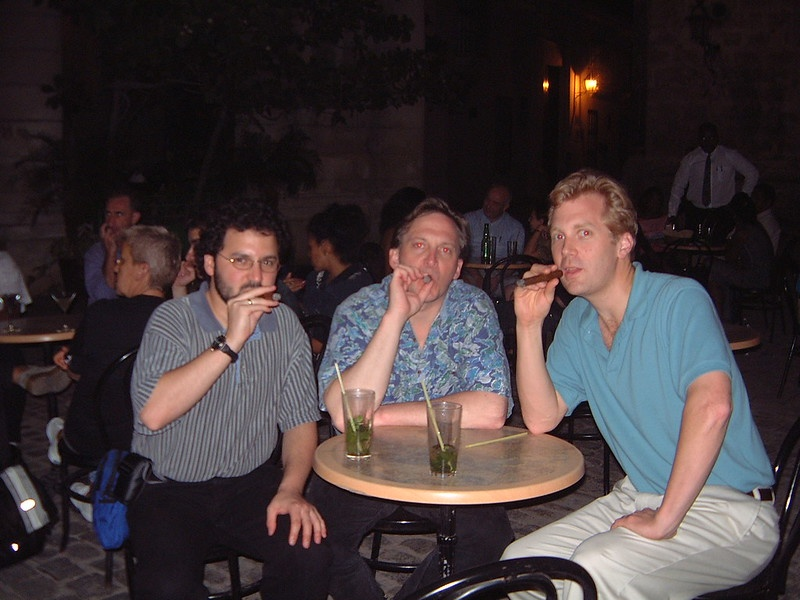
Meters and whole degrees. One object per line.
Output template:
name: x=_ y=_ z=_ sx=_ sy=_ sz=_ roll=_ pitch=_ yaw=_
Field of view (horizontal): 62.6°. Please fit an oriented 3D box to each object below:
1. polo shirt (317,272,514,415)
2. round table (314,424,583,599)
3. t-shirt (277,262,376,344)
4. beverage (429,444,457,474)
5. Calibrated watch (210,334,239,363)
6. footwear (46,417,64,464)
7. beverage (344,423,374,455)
polo shirt: x=0.018 y=0.244 z=3.175 sx=0.946 sy=0.611 sz=0.766 roll=-1 pitch=21 yaw=-3
round table: x=0.160 y=0.602 z=2.548 sx=0.745 sy=0.476 sz=0.722 roll=0 pitch=2 yaw=0
t-shirt: x=-0.440 y=0.019 z=4.024 sx=0.512 sy=0.487 sz=0.299 roll=17 pitch=0 yaw=35
beverage: x=0.158 y=0.579 z=2.431 sx=0.099 sy=0.099 sz=0.105 roll=1 pitch=1 yaw=4
Calibrated watch: x=-0.717 y=0.191 z=2.737 sx=0.126 sy=0.080 sz=0.124 roll=39 pitch=-10 yaw=-21
footwear: x=-2.042 y=0.810 z=3.935 sx=0.096 sy=0.111 sz=0.264 roll=-4 pitch=49 yaw=-40
beverage: x=-0.156 y=0.544 z=2.574 sx=0.117 sy=0.126 sz=0.116 roll=0 pitch=-8 yaw=6
